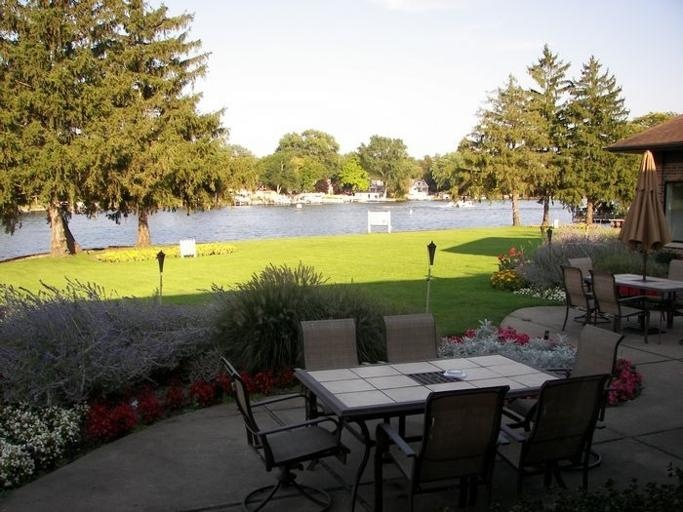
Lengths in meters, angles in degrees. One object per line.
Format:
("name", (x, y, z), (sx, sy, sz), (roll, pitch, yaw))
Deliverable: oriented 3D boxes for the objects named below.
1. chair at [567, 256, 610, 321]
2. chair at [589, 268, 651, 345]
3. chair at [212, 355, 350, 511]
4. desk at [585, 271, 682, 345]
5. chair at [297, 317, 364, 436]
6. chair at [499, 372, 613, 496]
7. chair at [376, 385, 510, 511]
("chair", (5.361, 0.441, 11.809), (0.684, 1.169, 0.881), (-3, 3, -22))
("chair", (5.123, 0.933, 9.980), (1.017, 1.610, 1.052), (-6, 7, -15))
("chair", (-0.551, 1.613, 5.253), (1.047, 1.400, 0.986), (-5, 6, -14))
("desk", (5.474, 0.799, 10.403), (1.452, 0.996, 1.451), (-7, 8, -28))
("chair", (-0.136, 1.202, 6.444), (0.787, 1.134, 0.883), (-2, -2, -10))
("chair", (1.933, 1.588, 4.918), (0.904, 1.162, 0.458), (-6, 6, -22))
("chair", (0.849, 1.693, 4.704), (1.116, 1.302, 0.666), (-4, 6, -3))
